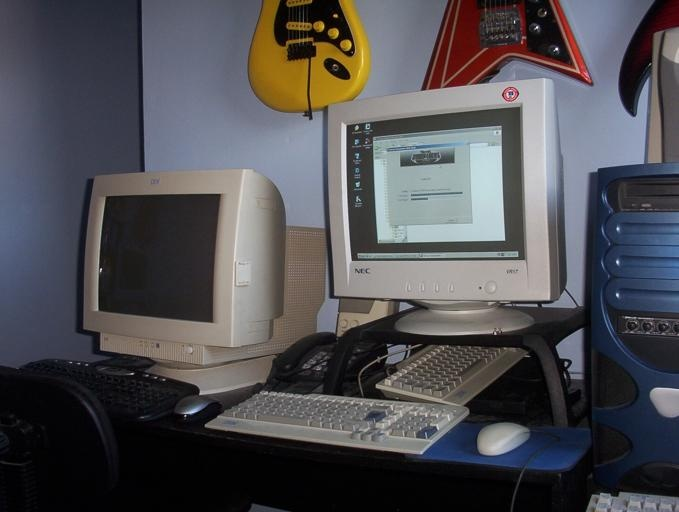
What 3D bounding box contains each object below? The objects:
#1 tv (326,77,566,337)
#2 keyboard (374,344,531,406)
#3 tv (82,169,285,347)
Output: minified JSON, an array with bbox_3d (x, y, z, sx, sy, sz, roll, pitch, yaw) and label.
[{"bbox_3d":[0.293,-0.123,1.561,0.582,0.603,0.361,0,3,26],"label":"tv"},{"bbox_3d":[0.247,0.277,1.346,0.151,0.047,0.255,-7,8,37],"label":"keyboard"},{"bbox_3d":[-0.434,0.007,1.677,0.571,0.483,0.327,1,0,30],"label":"tv"}]
